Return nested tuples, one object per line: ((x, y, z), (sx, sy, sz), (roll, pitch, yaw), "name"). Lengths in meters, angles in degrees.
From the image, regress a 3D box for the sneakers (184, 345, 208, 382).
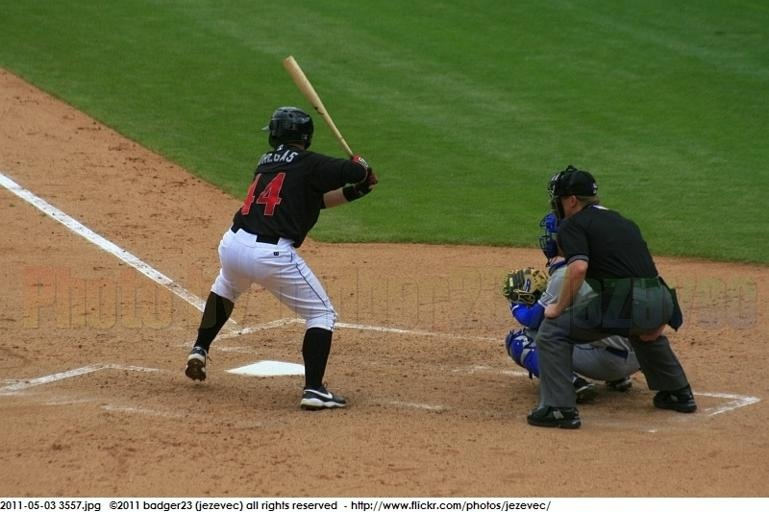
((-2.043, 1.177, 14.275), (0.270, 0.387, 0.255), (2, 26, 9), "sneakers")

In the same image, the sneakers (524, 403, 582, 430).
((1.812, 1.702, 13.826), (0.552, 0.203, 0.235), (6, 3, 14), "sneakers")

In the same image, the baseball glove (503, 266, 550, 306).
((1.567, 0.304, 14.355), (0.564, 0.373, 0.367), (1, -7, 9), "baseball glove")

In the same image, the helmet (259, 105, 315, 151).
((-1.054, -1.450, 14.374), (0.625, 0.343, 0.453), (-5, 11, -11), "helmet")

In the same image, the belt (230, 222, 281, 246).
((-1.394, -0.274, 14.026), (0.370, 0.066, 0.299), (16, -6, 0), "belt")
